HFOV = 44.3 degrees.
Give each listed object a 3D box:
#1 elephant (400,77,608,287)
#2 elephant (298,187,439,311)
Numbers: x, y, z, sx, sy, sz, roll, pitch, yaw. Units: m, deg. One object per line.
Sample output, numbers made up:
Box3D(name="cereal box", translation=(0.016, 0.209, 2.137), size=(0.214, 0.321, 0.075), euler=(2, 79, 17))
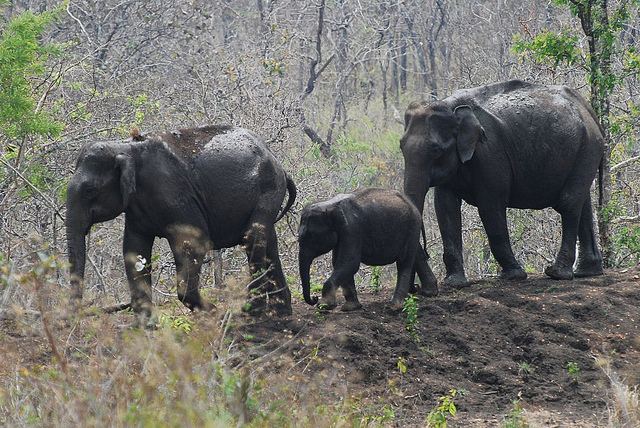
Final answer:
Box3D(name="elephant", translation=(3.090, -0.405, 13.074), size=(3.665, 3.052, 1.573), euler=(-4, 2, -11))
Box3D(name="elephant", translation=(0.778, 0.534, 11.989), size=(2.409, 1.864, 1.150), euler=(-4, 5, -23))
